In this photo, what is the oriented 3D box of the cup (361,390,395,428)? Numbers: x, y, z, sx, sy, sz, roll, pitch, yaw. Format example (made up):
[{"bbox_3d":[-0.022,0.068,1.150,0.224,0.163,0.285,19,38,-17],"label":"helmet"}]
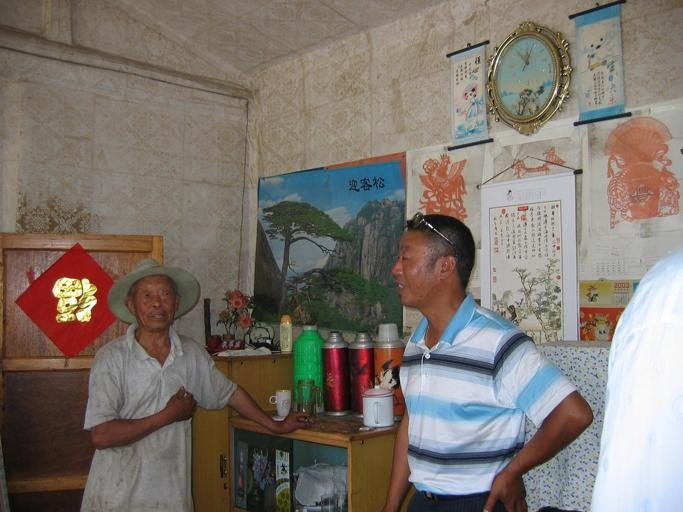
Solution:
[{"bbox_3d":[0.177,0.738,2.799,0.139,0.152,0.174,0,-2,5],"label":"cup"}]

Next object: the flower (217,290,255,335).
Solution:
[{"bbox_3d":[-0.748,0.404,4.094,0.309,0.339,0.336,-2,3,-31],"label":"flower"}]
